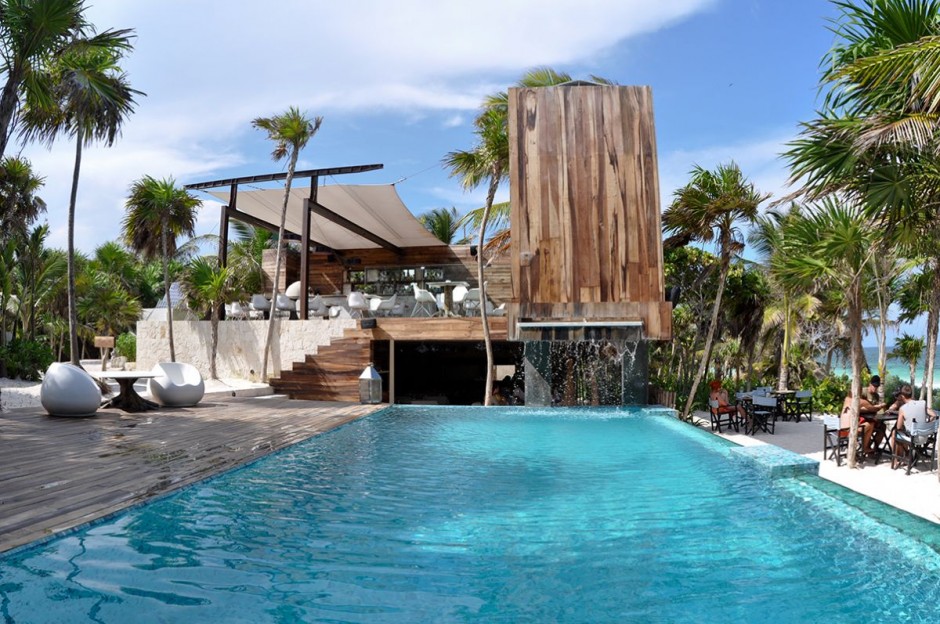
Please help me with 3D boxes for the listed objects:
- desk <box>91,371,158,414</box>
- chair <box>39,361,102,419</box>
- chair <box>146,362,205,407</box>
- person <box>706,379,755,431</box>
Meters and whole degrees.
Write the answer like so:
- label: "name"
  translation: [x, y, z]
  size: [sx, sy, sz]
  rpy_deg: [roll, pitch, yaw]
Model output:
- label: "desk"
  translation: [-7.252, 1.693, 13.832]
  size: [1.213, 0.683, 1.182]
  rpy_deg: [1, 2, -1]
- label: "chair"
  translation: [-8.028, 1.522, 13.419]
  size: [1.117, 1.088, 1.111]
  rpy_deg: [-5, -7, 42]
- label: "chair"
  translation: [-6.636, 1.610, 15.157]
  size: [1.061, 0.942, 1.083]
  rpy_deg: [-1, 0, -8]
- label: "person"
  translation: [6.612, 2.395, 17.555]
  size: [1.324, 1.761, 0.850]
  rpy_deg: [-6, 5, 3]
